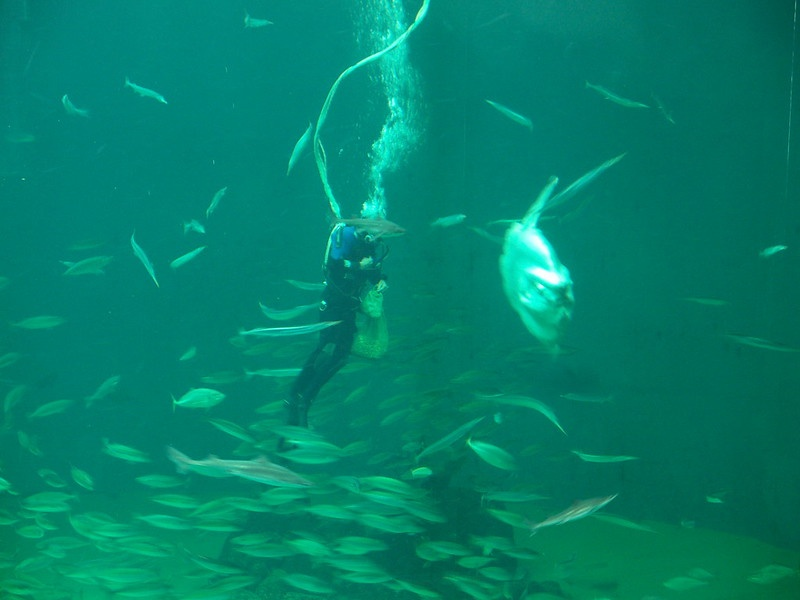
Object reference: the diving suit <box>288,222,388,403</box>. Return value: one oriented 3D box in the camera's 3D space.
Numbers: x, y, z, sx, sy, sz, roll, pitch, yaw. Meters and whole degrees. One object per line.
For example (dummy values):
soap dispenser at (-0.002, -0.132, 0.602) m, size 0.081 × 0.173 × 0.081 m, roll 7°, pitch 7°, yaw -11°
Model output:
diving suit at (-0.394, 0.031, 8.135) m, size 0.578 × 1.317 × 0.592 m, roll -3°, pitch 4°, yaw 9°

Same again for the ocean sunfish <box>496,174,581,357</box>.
ocean sunfish at (0.950, -0.187, 7.836) m, size 0.470 × 1.339 × 0.574 m, roll -12°, pitch 7°, yaw -13°

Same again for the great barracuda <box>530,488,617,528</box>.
great barracuda at (1.135, 1.440, 7.603) m, size 0.506 × 0.287 × 0.183 m, roll 3°, pitch 5°, yaw 8°

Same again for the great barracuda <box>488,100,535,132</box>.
great barracuda at (0.761, -1.248, 7.713) m, size 0.423 × 0.081 × 0.113 m, roll 29°, pitch 4°, yaw 7°

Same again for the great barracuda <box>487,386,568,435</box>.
great barracuda at (0.843, 0.777, 7.781) m, size 0.587 × 0.250 × 0.021 m, roll 3°, pitch 5°, yaw 10°
